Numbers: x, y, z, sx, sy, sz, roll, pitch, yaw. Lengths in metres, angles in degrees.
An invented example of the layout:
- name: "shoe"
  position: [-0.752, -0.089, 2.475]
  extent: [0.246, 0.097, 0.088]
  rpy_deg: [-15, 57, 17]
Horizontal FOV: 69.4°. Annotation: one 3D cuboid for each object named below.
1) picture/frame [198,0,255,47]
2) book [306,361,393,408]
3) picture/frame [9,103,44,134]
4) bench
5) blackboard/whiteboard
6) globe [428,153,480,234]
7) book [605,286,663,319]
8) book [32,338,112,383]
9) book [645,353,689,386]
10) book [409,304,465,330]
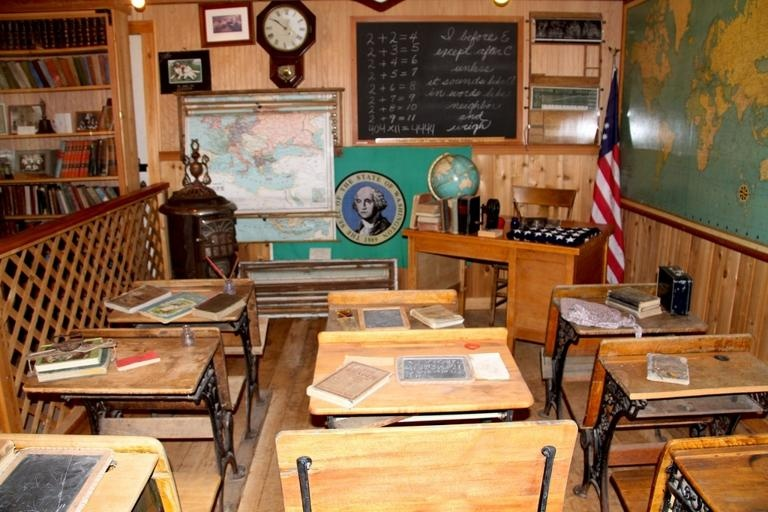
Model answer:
- name: "picture/frame"
  position: [-1.617, -2.403, 5.679]
  extent: [0.525, 0.354, 0.037]
  rpy_deg: [0, 6, -3]
- name: "book"
  position: [-0.170, 0.654, 2.858]
  extent: [0.269, 0.110, 0.375]
  rpy_deg: [8, 14, 40]
- name: "picture/frame"
  position: [-3.893, -1.476, 6.001]
  extent: [0.491, 0.369, 0.044]
  rpy_deg: [1, -10, -12]
- name: "bench"
  position: [-0.753, 0.290, 5.551]
  extent: [2.058, 0.510, 0.627]
  rpy_deg: [-2, -6, -2]
- name: "blackboard/whiteboard"
  position: [0.554, -1.892, 5.789]
  extent: [1.600, 0.921, 0.066]
  rpy_deg: [-1, 9, 0]
- name: "globe"
  position: [0.647, -0.605, 5.257]
  extent: [0.512, 0.687, 0.439]
  rpy_deg: [-10, 15, -20]
- name: "book"
  position: [1.688, 0.312, 3.811]
  extent: [0.218, 0.080, 0.261]
  rpy_deg: [-9, 17, -26]
- name: "book"
  position: [-1.767, 0.575, 3.136]
  extent: [0.428, 0.154, 0.355]
  rpy_deg: [-7, 12, -26]
- name: "book"
  position: [1.588, 0.629, 3.093]
  extent: [0.155, 0.019, 0.202]
  rpy_deg: [2, 17, 14]
- name: "book"
  position: [0.330, 0.368, 3.410]
  extent: [0.188, 0.041, 0.176]
  rpy_deg: [-3, 15, -30]
